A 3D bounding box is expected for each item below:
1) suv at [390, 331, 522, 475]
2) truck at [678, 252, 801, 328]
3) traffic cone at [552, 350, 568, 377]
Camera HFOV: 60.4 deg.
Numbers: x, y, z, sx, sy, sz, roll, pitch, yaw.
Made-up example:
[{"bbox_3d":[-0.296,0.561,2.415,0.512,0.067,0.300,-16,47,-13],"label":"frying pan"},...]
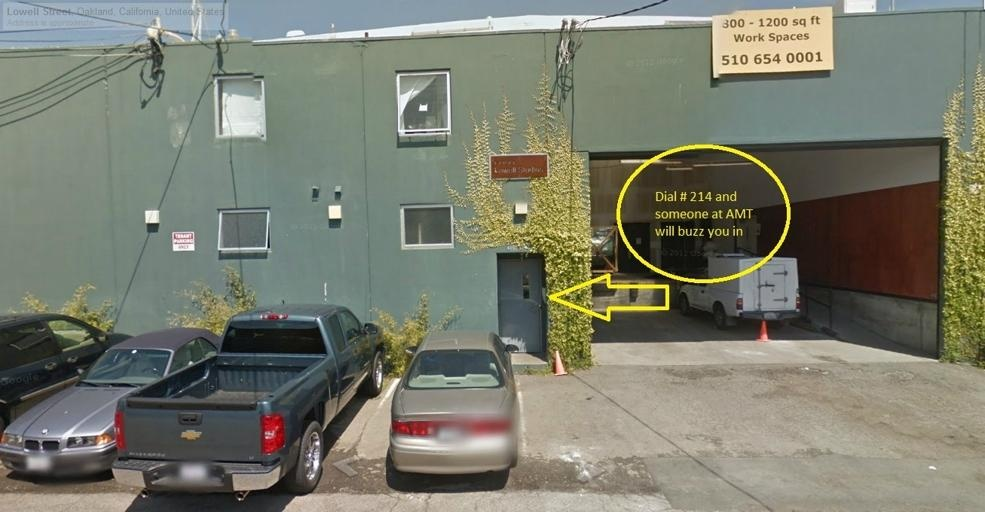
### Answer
[{"bbox_3d":[-1.046,4.692,26.120,3.698,3.923,1.903,-2,4,2],"label":"suv"},{"bbox_3d":[10.196,1.143,35.262,2.553,2.225,4.261,0,5,-3],"label":"truck"},{"bbox_3d":[2.424,3.755,30.033,0.476,0.865,0.341,-2,4,2],"label":"traffic cone"}]
